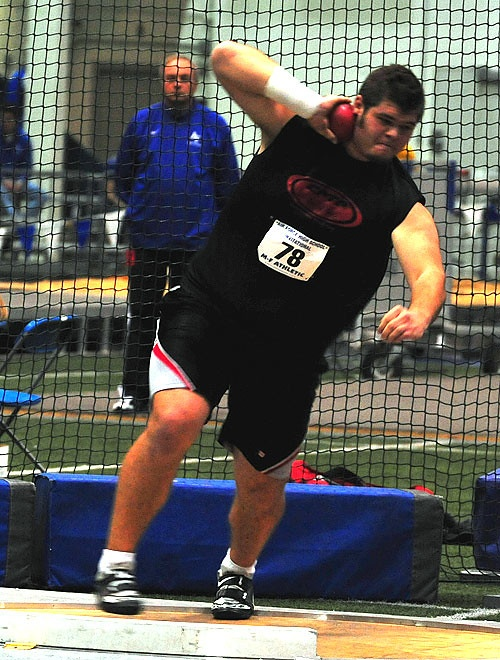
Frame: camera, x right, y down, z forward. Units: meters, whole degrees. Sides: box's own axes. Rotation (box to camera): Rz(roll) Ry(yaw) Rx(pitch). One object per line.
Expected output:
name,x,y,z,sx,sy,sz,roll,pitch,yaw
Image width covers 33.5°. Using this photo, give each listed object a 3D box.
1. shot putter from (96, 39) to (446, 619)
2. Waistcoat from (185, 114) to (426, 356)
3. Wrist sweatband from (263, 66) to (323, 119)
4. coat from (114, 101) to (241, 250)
shot putter,-0.029,-0.041,2.512,1.088,1.429,0.667,-1,3,-21
Waistcoat,0.228,-0.307,2.317,0.460,0.528,0.341,40,41,25
Wrist sweatband,0.112,-0.620,2.182,0.155,0.098,0.130,7,4,-2
coat,-0.538,-1.013,5.574,0.754,1.046,0.616,13,17,43
